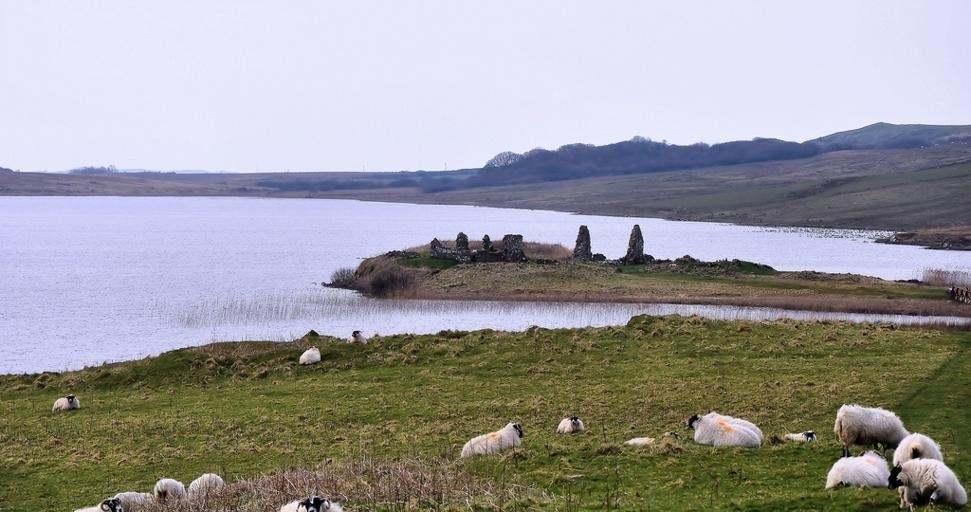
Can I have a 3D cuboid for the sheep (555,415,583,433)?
[{"bbox_3d":[10.399,20.527,123.888,3.144,1.907,0.851,0,4,3],"label":"sheep"}]
